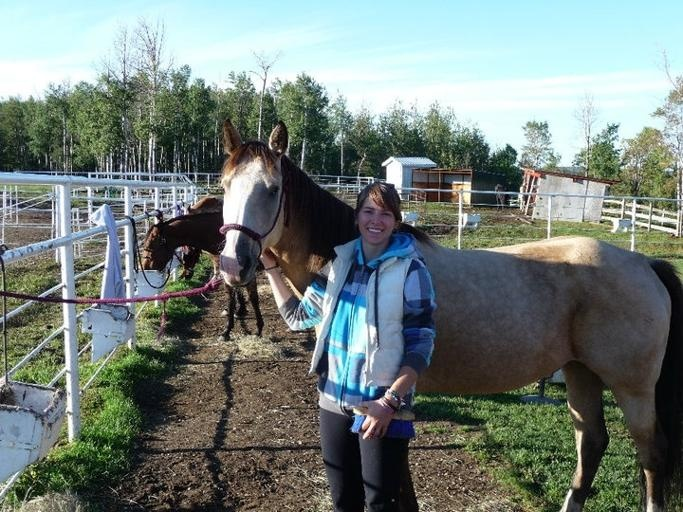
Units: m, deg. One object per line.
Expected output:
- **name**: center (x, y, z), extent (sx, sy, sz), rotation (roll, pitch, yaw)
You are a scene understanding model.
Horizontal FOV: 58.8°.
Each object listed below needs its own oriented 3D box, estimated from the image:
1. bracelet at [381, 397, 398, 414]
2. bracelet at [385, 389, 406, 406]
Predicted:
- **bracelet**: center (0.293, 0.875, 3.599), extent (0.074, 0.118, 0.056), rotation (3, -4, -2)
- **bracelet**: center (0.320, 0.863, 3.637), extent (0.081, 0.044, 0.116), rotation (23, -17, 35)
